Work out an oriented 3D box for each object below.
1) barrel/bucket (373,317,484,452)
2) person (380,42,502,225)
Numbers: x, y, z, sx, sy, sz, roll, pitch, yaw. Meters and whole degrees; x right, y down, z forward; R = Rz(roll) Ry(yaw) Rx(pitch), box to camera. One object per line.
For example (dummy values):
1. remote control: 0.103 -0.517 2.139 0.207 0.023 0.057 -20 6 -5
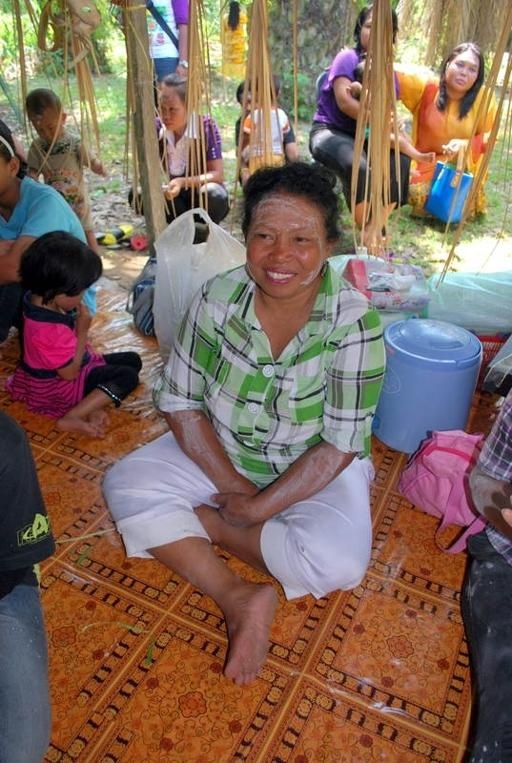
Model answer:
1. barrel/bucket: 0.593 0.020 1.940 0.323 0.348 0.313 0 37 0
2. person: 1.300 -1.836 4.138 1.009 1.169 0.574 -2 51 3
